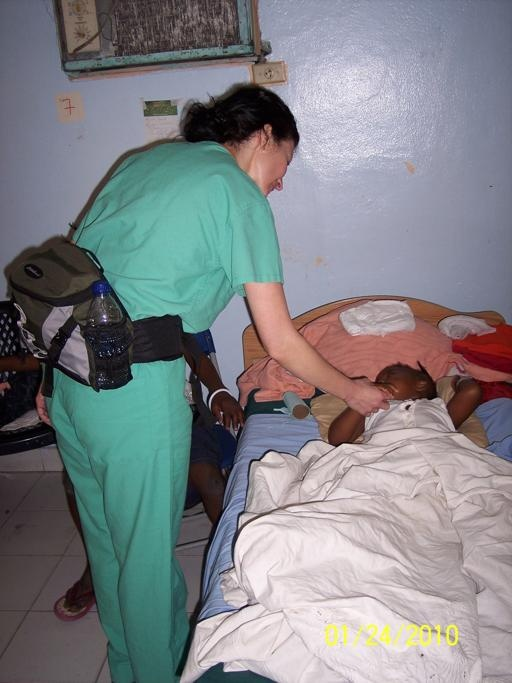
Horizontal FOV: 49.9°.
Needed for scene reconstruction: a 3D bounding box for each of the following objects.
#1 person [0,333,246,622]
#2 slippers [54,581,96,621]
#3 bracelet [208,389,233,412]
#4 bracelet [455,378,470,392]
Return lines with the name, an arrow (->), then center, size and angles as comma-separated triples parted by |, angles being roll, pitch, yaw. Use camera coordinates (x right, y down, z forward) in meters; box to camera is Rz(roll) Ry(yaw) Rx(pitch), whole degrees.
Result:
person -> -0.359, 0.347, 1.785 | 0.764, 0.949, 0.406 | -10, -12, 15
slippers -> -0.563, 0.799, 1.693 | 0.075, 0.042, 0.126 | 1, 10, 8
bracelet -> -0.136, 0.202, 1.961 | 0.070, 0.080, 0.032 | -3, 17, -12
bracelet -> 0.620, 0.130, 1.637 | 0.020, 0.033, 0.032 | 38, 67, 12
